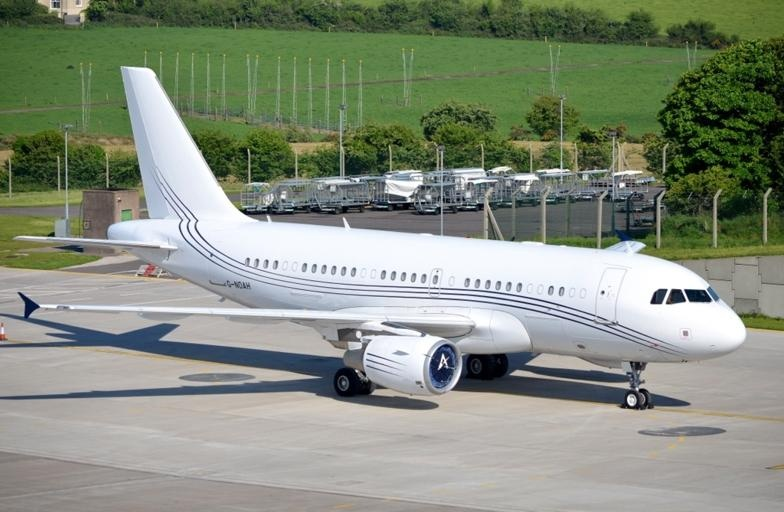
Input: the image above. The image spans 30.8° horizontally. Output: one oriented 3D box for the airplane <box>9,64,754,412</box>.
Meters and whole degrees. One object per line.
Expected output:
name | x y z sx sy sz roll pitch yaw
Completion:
airplane | 2.557 1.679 109.330 41.227 11.254 40.722 7 13 32
